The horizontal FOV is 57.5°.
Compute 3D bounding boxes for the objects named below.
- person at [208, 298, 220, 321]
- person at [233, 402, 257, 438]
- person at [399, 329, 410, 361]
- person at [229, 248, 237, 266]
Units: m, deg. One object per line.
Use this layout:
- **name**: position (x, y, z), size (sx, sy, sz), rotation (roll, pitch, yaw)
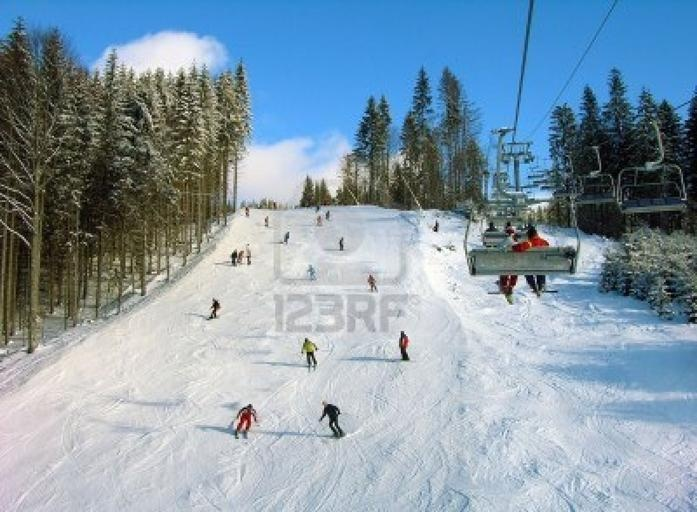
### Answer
- **person**: position (-10.159, 4.033, 47.716), size (0.676, 2.146, 1.172), rotation (0, 7, -27)
- **person**: position (-5.752, 9.176, 35.427), size (1.079, 0.506, 2.176), rotation (2, 43, 12)
- **person**: position (3.619, 5.705, 41.392), size (0.632, 1.950, 1.597), rotation (-3, 3, 3)
- **person**: position (-10.455, 0.085, 58.129), size (0.609, 1.355, 1.301), rotation (-3, 3, -14)
